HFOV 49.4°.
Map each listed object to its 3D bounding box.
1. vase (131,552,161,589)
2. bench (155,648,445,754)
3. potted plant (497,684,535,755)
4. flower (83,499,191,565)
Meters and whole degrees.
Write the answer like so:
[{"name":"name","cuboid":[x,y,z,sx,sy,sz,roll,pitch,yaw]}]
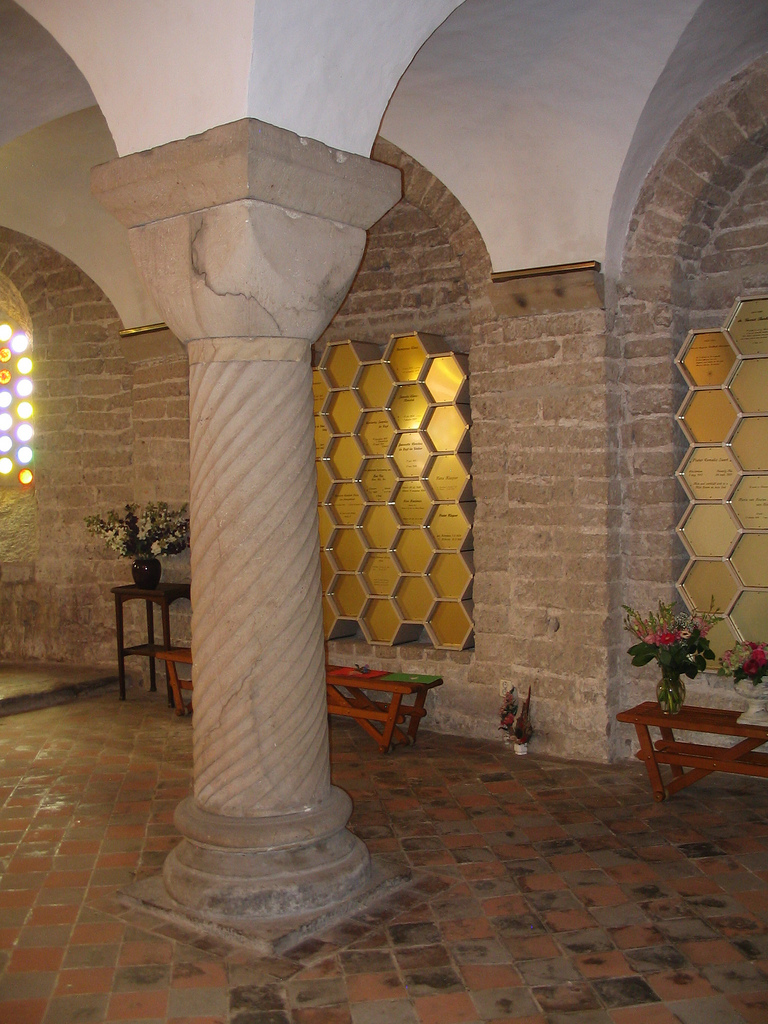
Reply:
[{"name":"vase","cuboid":[-1.771,0.440,6.179,0.188,0.256,0.169,0,-2,-18]},{"name":"bench","cuboid":[-0.501,1.141,5.346,1.954,0.467,0.803,-2,-2,29]},{"name":"potted plant","cuboid":[0.692,1.152,4.663,0.154,0.358,0.229,1,-3,-43]},{"name":"flower","cuboid":[-1.856,0.095,6.363,0.826,0.423,0.521,-3,30,4]}]
